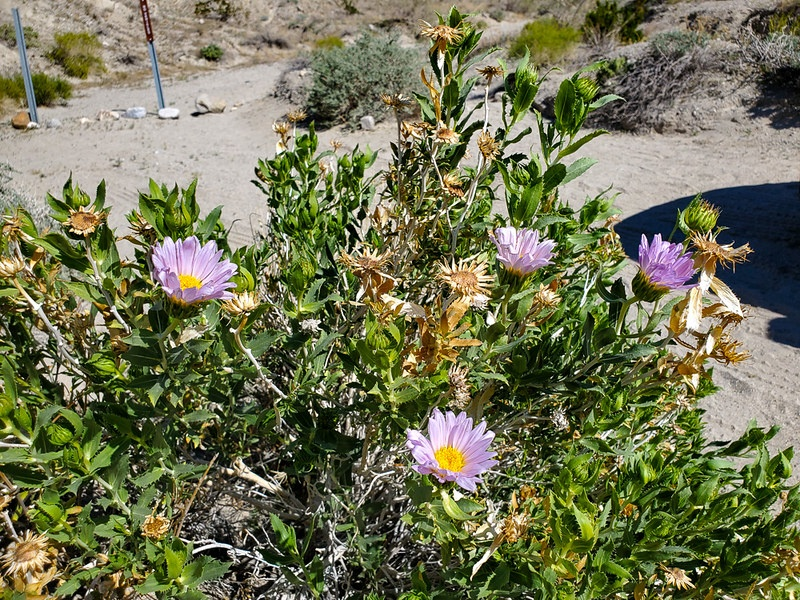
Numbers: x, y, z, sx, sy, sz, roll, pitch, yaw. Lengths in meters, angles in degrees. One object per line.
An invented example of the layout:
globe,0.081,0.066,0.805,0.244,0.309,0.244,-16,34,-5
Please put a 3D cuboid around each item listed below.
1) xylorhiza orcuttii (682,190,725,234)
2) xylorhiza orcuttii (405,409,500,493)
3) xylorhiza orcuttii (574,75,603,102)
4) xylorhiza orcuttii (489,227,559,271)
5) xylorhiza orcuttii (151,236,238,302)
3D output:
xylorhiza orcuttii,1.365,-0.390,4.084,0.145,0.212,0.284,21,33,26
xylorhiza orcuttii,0.207,0.682,3.724,0.363,0.294,0.295,6,30,0
xylorhiza orcuttii,0.900,-1.040,4.299,0.106,0.132,0.124,4,13,20
xylorhiza orcuttii,0.534,-0.214,3.901,0.193,0.249,0.218,0,9,-7
xylorhiza orcuttii,-0.852,-0.086,3.751,0.333,0.296,0.239,-2,30,-14
